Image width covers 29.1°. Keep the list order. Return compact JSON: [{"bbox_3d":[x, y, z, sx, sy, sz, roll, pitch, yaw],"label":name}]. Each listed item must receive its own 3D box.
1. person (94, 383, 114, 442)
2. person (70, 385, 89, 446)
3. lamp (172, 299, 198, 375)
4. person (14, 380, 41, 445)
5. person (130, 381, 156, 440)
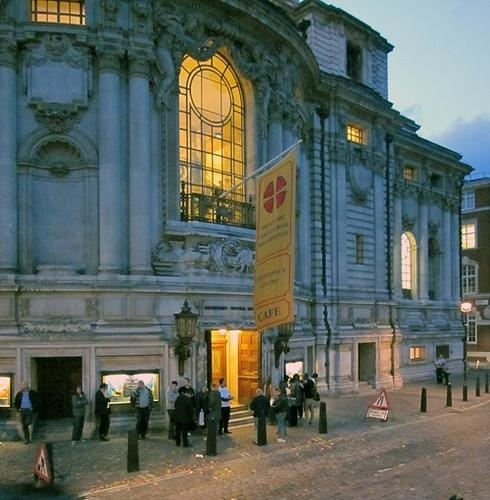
[{"bbox_3d":[-4.842,5.532,32.090,0.499,1.928,1.271,0,-7,-9],"label":"person"},{"bbox_3d":[-5.559,5.518,31.709,0.478,1.878,1.013,0,-7,-11],"label":"person"},{"bbox_3d":[-2.100,3.143,33.256,0.798,2.610,1.519,-1,-7,-4],"label":"lamp"},{"bbox_3d":[-7.369,5.562,31.828,0.796,1.955,1.130,1,-7,-13],"label":"person"},{"bbox_3d":[-3.508,5.473,32.179,0.736,1.940,1.377,0,-7,-7],"label":"person"}]
